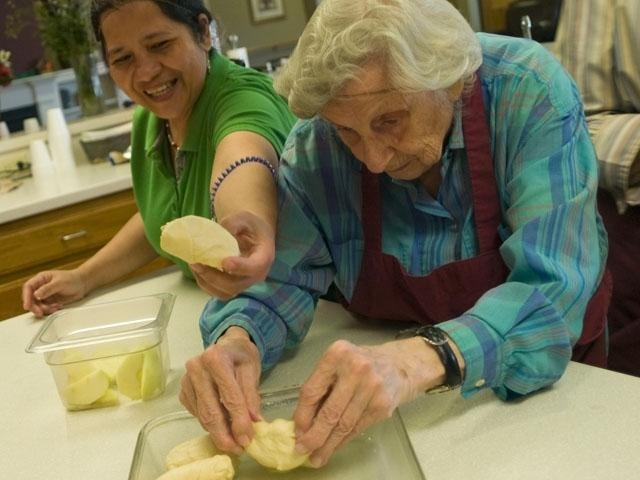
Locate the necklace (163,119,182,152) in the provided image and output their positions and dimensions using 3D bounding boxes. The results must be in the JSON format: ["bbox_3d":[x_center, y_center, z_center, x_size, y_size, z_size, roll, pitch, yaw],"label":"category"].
[{"bbox_3d":[-0.515,-0.361,1.933,0.036,0.112,0.085,-21,10,-3],"label":"necklace"}]

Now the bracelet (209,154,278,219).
[{"bbox_3d":[-0.236,-0.120,1.516,0.126,0.196,0.076,10,-14,-8],"label":"bracelet"}]

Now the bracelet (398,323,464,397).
[{"bbox_3d":[0.268,0.252,1.242,0.078,0.131,0.134,-26,35,-8],"label":"bracelet"}]
